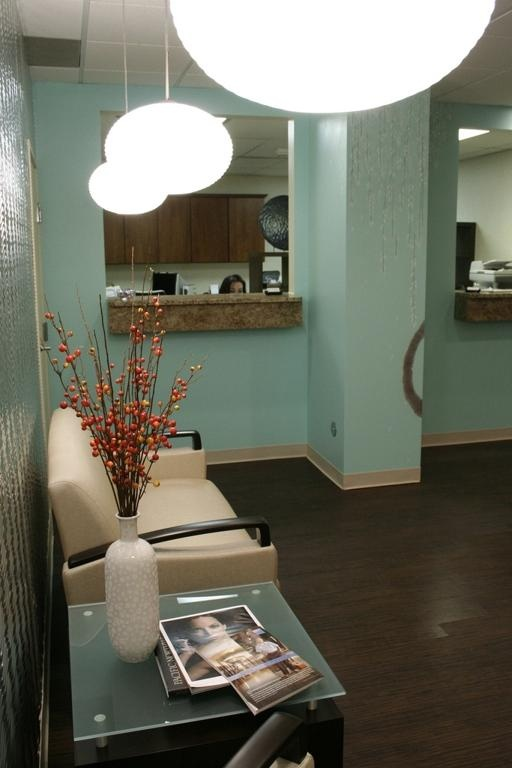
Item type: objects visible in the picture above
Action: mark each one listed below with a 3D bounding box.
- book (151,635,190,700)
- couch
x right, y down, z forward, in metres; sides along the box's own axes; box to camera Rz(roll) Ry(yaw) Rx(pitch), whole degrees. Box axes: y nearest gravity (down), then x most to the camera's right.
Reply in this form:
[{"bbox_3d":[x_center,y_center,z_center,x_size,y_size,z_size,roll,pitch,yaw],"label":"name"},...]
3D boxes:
[{"bbox_3d":[-0.211,0.700,1.351,0.040,0.023,0.204,-10,24,-11],"label":"book"},{"bbox_3d":[-0.496,0.555,2.630,0.866,0.721,1.315,-3,10,-21],"label":"couch"}]
